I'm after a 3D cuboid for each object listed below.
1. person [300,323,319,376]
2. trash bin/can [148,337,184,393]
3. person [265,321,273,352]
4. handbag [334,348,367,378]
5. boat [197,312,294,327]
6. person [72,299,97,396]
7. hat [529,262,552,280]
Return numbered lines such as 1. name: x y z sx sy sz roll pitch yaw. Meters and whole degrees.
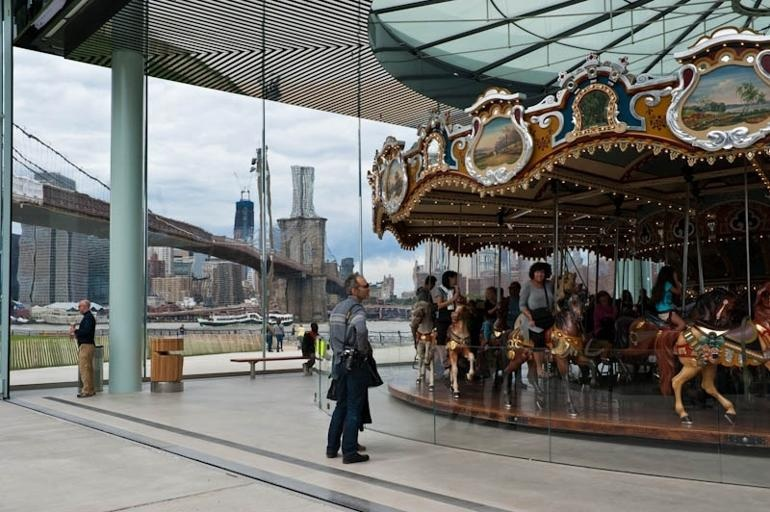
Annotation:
1. person: -1.993 2.492 22.642 0.506 1.392 0.481 1 -5 -11
2. trash bin/can: -5.145 2.545 19.840 0.802 1.317 0.838 -4 -4 34
3. person: -3.280 2.373 23.951 0.231 0.951 0.791 -4 14 -8
4. handbag: -0.561 1.715 13.608 0.373 0.192 0.483 5 11 17
5. boat: -4.172 1.838 24.249 2.147 0.387 0.392 -4 -1 -15
6. person: -6.632 2.062 18.562 0.430 2.041 0.698 -2 14 -1
7. hat: 2.950 0.285 16.079 0.293 0.300 0.364 1 0 7
